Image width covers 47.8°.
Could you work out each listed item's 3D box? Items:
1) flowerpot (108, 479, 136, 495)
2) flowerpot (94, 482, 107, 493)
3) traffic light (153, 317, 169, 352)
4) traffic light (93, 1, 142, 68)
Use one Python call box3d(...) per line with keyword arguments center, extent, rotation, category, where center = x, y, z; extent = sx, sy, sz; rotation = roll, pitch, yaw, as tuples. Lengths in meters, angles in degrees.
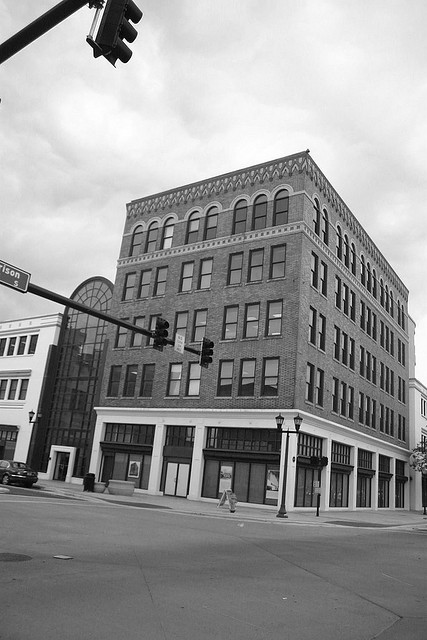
box3d(center=(-5.769, 10.322, 29.792), extent=(1.507, 0.807, 0.682), rotation=(10, -16, -10), category="flowerpot")
box3d(center=(-7.305, 10.447, 30.359), extent=(0.648, 0.503, 0.663), rotation=(-11, -17, 43), category="flowerpot")
box3d(center=(-2.071, 0.430, 19.166), extent=(0.539, 1.462, 1.387), rotation=(9, -16, -7), category="traffic light")
box3d(center=(-1.012, -2.995, 5.032), extent=(0.393, 0.673, 0.385), rotation=(14, -17, -24), category="traffic light")
